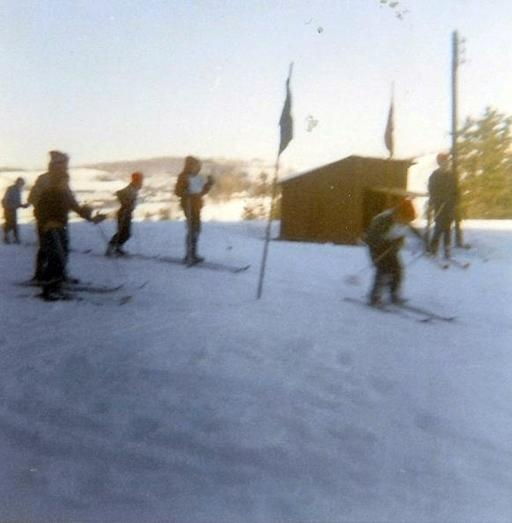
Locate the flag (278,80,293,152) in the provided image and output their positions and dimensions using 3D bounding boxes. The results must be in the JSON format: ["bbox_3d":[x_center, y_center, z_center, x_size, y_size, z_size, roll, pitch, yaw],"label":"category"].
[{"bbox_3d":[0.296,-1.422,4.879,0.161,0.662,0.036,-4,10,-35],"label":"flag"}]

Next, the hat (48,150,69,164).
[{"bbox_3d":[-1.861,-0.993,4.809,0.158,0.106,0.259,0,9,-19],"label":"hat"}]

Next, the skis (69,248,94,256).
[{"bbox_3d":[-2.411,-0.146,7.105,0.485,0.070,0.066,5,-14,0],"label":"skis"}]

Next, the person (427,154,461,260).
[{"bbox_3d":[2.644,-0.814,7.239,0.423,1.457,0.622,7,11,18],"label":"person"}]

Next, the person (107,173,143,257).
[{"bbox_3d":[-1.838,-0.691,7.148,0.486,1.150,0.608,1,10,-13],"label":"person"}]

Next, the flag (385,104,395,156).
[{"bbox_3d":[1.412,-1.382,5.339,0.121,0.512,0.056,-7,10,-29],"label":"flag"}]

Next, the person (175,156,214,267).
[{"bbox_3d":[-0.826,-0.714,6.850,0.491,1.387,0.639,0,11,-20],"label":"person"}]
